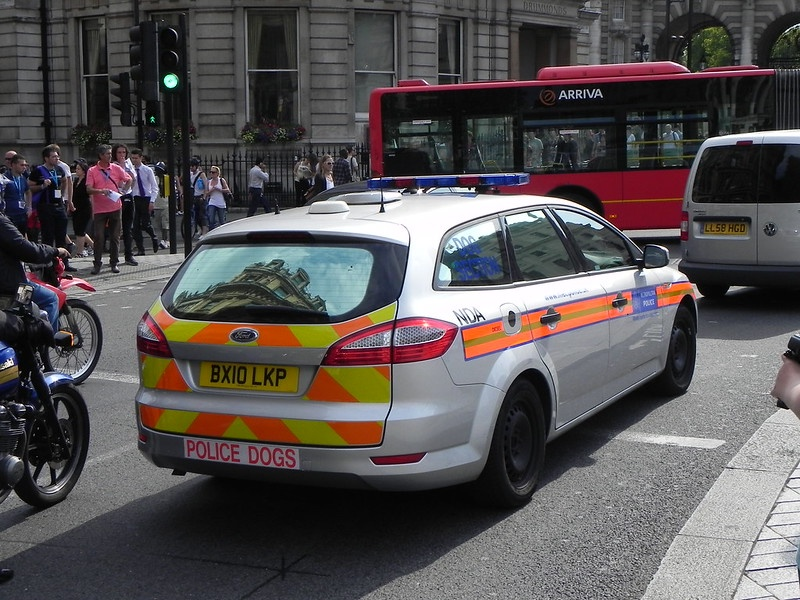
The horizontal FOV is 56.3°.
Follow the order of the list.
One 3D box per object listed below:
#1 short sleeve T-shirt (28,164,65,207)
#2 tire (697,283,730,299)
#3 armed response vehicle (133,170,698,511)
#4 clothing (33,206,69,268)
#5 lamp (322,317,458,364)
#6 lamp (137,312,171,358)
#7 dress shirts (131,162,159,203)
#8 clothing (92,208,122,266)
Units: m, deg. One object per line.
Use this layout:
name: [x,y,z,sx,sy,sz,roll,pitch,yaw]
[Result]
short sleeve T-shirt: [-7.001,-2.230,14.837,0.429,0.862,0.808,-1,5,32]
tire: [4.921,-0.122,11.716,0.393,0.330,0.406,1,2,34]
armed response vehicle: [0.711,0.023,6.242,2.338,2.084,5.240,1,7,38]
clothing: [-6.987,-1.349,15.124,0.384,1.389,0.548,25,27,31]
lamp: [-0.041,0.226,3.841,0.452,0.284,0.517,2,7,6]
lamp: [-1.391,0.222,4.355,0.149,0.151,0.294,1,1,11]
dress shirts: [-6.150,-2.805,18.052,0.956,0.918,0.372,14,23,40]
clothing: [-5.791,-1.289,14.835,0.491,1.301,0.329,-4,18,-36]
